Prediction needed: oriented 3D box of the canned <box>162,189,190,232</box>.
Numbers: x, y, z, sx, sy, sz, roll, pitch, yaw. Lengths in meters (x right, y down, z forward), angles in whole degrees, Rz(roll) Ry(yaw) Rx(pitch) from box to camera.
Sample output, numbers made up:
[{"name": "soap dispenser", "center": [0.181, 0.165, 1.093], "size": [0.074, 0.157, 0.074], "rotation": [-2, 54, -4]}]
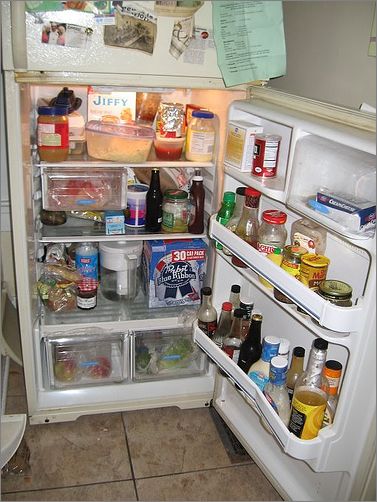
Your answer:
[{"name": "canned", "center": [-0.054, -0.154, 1.525], "size": [0.112, 0.161, 0.112], "rotation": [6, 27, 5]}]

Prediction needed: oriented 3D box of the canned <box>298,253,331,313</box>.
[{"name": "canned", "center": [0.281, 0.074, 0.865], "size": [0.081, 0.131, 0.080], "rotation": [3, -1, -7]}]

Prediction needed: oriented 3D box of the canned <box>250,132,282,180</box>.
[{"name": "canned", "center": [0.191, -0.247, 1.001], "size": [0.086, 0.094, 0.086], "rotation": [-2, 19, -23]}]

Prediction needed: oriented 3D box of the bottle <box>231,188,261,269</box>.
[{"name": "bottle", "center": [0.178, -0.079, 1.168], "size": [0.070, 0.254, 0.167], "rotation": [6, 22, 7]}]

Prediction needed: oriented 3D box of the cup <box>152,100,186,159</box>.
[{"name": "cup", "center": [-0.060, -0.442, 1.419], "size": [0.150, 0.185, 0.148], "rotation": [2, 25, -1]}]

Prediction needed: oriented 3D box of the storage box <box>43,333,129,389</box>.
[{"name": "storage box", "center": [-0.443, 0.477, 1.686], "size": [0.326, 0.227, 0.181], "rotation": [-1, -6, -16]}]

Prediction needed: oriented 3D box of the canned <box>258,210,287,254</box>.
[{"name": "canned", "center": [0.221, -0.046, 1.007], "size": [0.083, 0.137, 0.082], "rotation": [4, 31, 7]}]

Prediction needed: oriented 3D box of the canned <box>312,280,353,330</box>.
[{"name": "canned", "center": [0.283, 0.100, 0.762], "size": [0.053, 0.053, 0.056], "rotation": [-2, 21, -1]}]

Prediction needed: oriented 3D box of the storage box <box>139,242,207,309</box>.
[{"name": "storage box", "center": [-0.053, 0.129, 1.632], "size": [0.205, 0.269, 0.148], "rotation": [-2, -23, 2]}]

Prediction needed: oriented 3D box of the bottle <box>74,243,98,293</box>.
[{"name": "bottle", "center": [-0.417, 0.072, 1.574], "size": [0.082, 0.193, 0.081], "rotation": [5, 29, -3]}]

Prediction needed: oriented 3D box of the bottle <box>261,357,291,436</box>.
[{"name": "bottle", "center": [0.228, 0.332, 0.966], "size": [0.071, 0.161, 0.166], "rotation": [9, 22, 14]}]

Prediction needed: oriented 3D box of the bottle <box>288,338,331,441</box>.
[{"name": "bottle", "center": [0.271, 0.307, 0.842], "size": [0.074, 0.233, 0.146], "rotation": [12, 23, 21]}]

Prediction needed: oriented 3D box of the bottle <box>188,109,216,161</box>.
[{"name": "bottle", "center": [0.044, -0.413, 1.381], "size": [0.102, 0.166, 0.103], "rotation": [3, 23, -1]}]

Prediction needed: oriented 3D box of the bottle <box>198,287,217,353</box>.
[{"name": "bottle", "center": [0.071, 0.235, 1.391], "size": [0.081, 0.213, 0.081], "rotation": [-3, 27, 2]}]
